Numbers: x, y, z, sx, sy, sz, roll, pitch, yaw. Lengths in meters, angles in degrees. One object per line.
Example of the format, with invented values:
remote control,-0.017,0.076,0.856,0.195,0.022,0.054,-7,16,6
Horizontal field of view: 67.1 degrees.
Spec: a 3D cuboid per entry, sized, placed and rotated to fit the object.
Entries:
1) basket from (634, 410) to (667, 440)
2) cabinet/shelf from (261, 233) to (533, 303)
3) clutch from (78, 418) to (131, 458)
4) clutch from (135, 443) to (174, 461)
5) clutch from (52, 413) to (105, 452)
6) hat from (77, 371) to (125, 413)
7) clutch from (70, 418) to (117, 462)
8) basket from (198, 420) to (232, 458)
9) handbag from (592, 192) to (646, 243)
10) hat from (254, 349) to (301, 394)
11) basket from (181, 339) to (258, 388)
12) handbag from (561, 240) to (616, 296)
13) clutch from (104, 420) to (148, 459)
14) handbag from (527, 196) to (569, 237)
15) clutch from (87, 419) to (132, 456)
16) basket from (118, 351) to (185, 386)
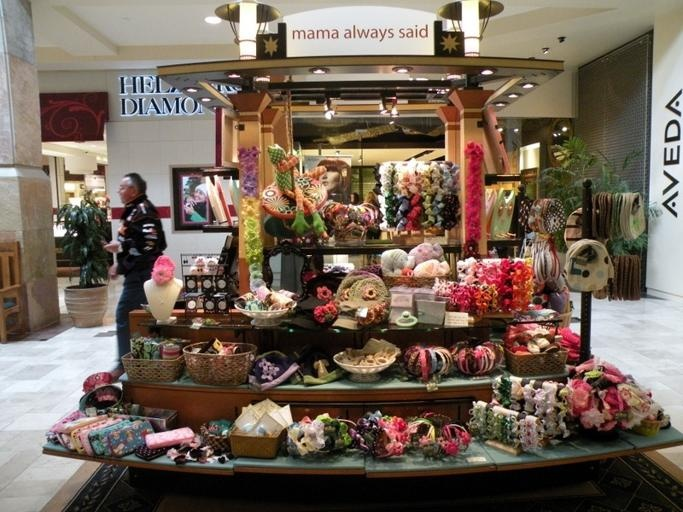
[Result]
basket,2.328,1.213,3.799,0.295,0.165,0.113,-6,13,-25
cabinet/shelf,0.572,0.018,5.019,2.013,0.520,1.915,5,13,28
clutch,-1.737,1.318,3.741,0.315,0.092,0.222,-2,13,-26
clutch,-1.374,1.403,3.676,0.127,0.026,0.124,4,7,21
clutch,-1.972,1.300,3.863,0.272,0.084,0.277,6,7,44
hat,-1.968,1.098,4.228,0.387,0.310,0.133,13,3,1
clutch,-1.853,1.358,3.816,0.269,0.081,0.246,-5,7,15
basket,-0.913,1.319,3.778,0.221,0.145,0.373,-4,12,-13
handbag,2.305,-0.315,4.196,0.474,0.463,0.407,-5,3,-27
hat,-0.509,0.876,3.903,0.276,0.077,0.278,23,46,34
basket,-0.939,0.833,3.948,0.502,0.170,0.302,2,-3,6
handbag,1.934,0.081,4.027,0.501,0.499,0.413,-1,4,6
clutch,-1.533,1.325,3.738,0.216,0.171,0.286,-18,-6,28
handbag,1.980,-0.366,4.773,0.346,0.377,0.359,-2,4,-41
clutch,-1.673,1.324,3.724,0.244,0.137,0.307,0,-2,19
basket,-1.469,0.879,4.003,0.374,0.110,0.252,1,-4,-1
